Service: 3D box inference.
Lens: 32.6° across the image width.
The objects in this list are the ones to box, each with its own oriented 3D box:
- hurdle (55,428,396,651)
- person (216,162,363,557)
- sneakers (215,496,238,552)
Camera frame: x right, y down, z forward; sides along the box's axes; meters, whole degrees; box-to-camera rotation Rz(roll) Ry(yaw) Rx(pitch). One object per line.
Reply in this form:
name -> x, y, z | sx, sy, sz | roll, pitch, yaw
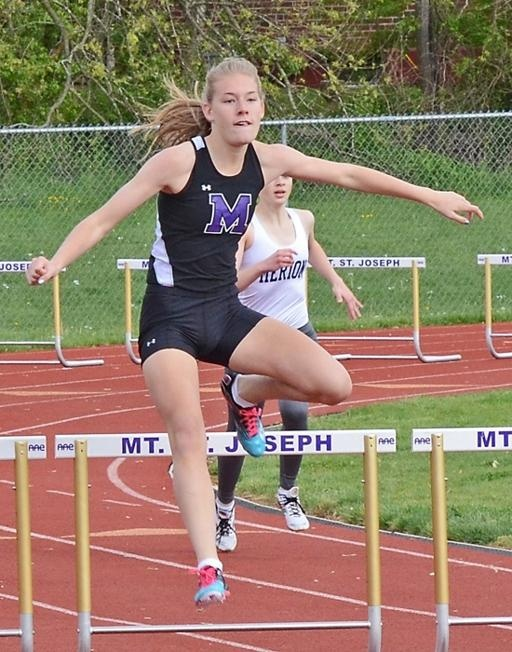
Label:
hurdle -> -0.075, 0.706, 2.676 | 0.999, 0.886, 0.654 | -4, 10, -8
person -> 0.216, 0.115, 4.281 | 0.888, 1.947, 0.721 | -7, 9, -37
sneakers -> -0.143, 0.957, 4.222 | 0.092, 0.264, 0.114 | -2, 11, 0
